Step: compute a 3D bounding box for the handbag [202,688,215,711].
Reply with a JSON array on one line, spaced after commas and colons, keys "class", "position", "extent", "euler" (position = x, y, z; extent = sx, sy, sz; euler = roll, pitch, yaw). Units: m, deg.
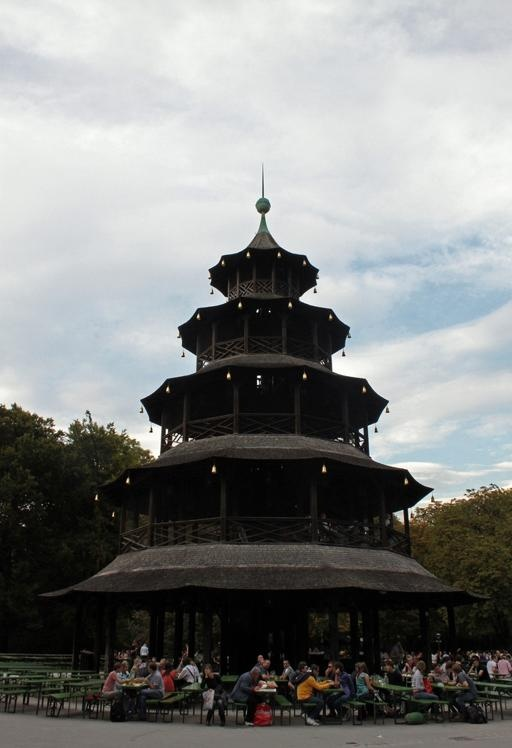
[{"class": "handbag", "position": [-1.059, 7.329, 15.727], "extent": [0.228, 0.481, 0.626], "euler": [-2, 0, -3]}]

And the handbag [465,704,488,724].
[{"class": "handbag", "position": [5.143, 7.928, 16.309], "extent": [0.363, 0.473, 0.468], "euler": [4, -41, -14]}]

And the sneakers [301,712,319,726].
[{"class": "sneakers", "position": [1.190, 7.688, 15.567], "extent": [0.157, 0.186, 0.452], "euler": [13, -27, -25]}]
